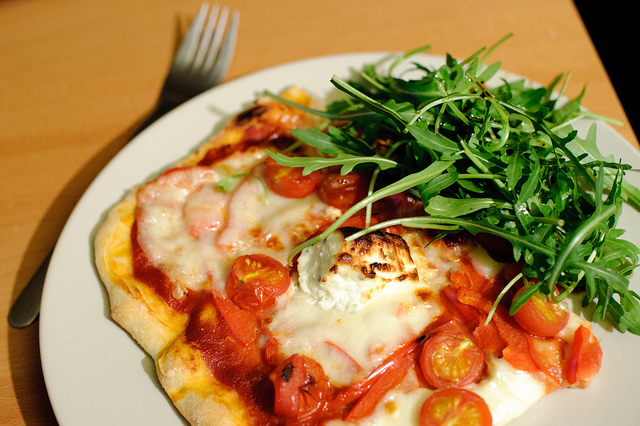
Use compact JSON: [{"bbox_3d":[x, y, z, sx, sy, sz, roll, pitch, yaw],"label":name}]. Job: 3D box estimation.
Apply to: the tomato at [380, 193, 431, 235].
[{"bbox_3d":[0.696,0.044,4.855,0.324,0.099,0.346,-3,58,26],"label":"tomato"}]
